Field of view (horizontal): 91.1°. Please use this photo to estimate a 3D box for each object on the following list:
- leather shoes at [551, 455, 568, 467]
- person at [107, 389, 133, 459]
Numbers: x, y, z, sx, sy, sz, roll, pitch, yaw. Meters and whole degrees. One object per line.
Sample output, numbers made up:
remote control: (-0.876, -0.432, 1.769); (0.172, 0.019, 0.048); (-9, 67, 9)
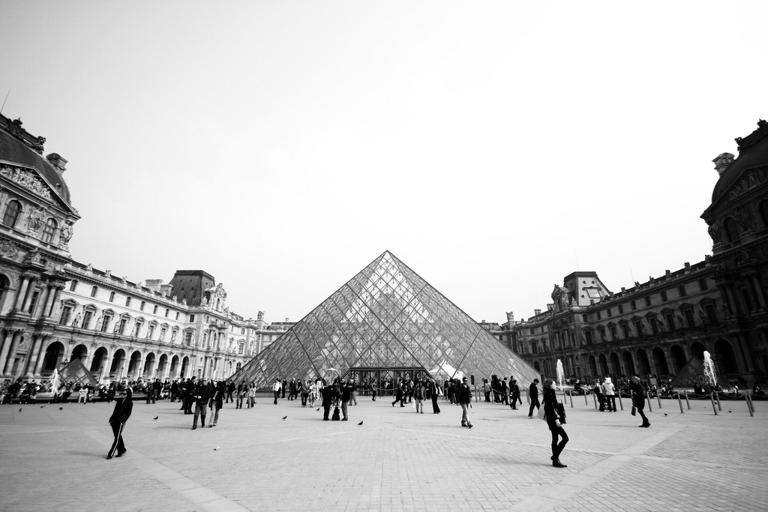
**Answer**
leather shoes: (4.133, 4.785, 8.826); (0.356, 0.232, 0.298); (-1, -21, -1)
person: (-7.020, 4.340, 9.868); (0.538, 1.618, 1.474); (13, -25, -32)
